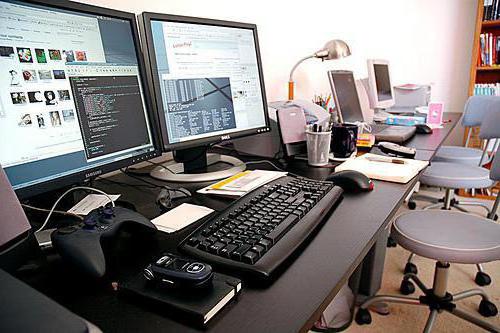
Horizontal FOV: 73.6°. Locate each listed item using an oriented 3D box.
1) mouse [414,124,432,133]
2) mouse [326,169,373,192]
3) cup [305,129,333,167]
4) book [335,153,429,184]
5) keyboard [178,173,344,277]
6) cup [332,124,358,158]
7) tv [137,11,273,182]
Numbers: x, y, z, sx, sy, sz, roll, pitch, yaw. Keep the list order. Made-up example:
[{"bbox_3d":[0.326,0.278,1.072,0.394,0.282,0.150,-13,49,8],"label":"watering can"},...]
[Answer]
[{"bbox_3d":[1.090,-0.237,2.097,0.056,0.029,0.092,-14,14,-31],"label":"mouse"},{"bbox_3d":[0.351,0.050,1.151,0.125,0.041,0.075,8,19,25],"label":"mouse"},{"bbox_3d":[0.284,-0.084,1.477,0.143,0.160,0.142,-3,15,1],"label":"cup"},{"bbox_3d":[0.518,0.003,1.316,0.187,0.020,0.204,7,20,36],"label":"book"},{"bbox_3d":[0.074,0.140,0.989,0.282,0.053,0.537,9,22,32],"label":"keyboard"},{"bbox_3d":[0.444,-0.113,1.523,0.149,0.136,0.114,-11,16,-14],"label":"cup"},{"bbox_3d":[-0.249,-0.295,1.461,0.356,0.618,0.665,13,22,30],"label":"tv"}]
